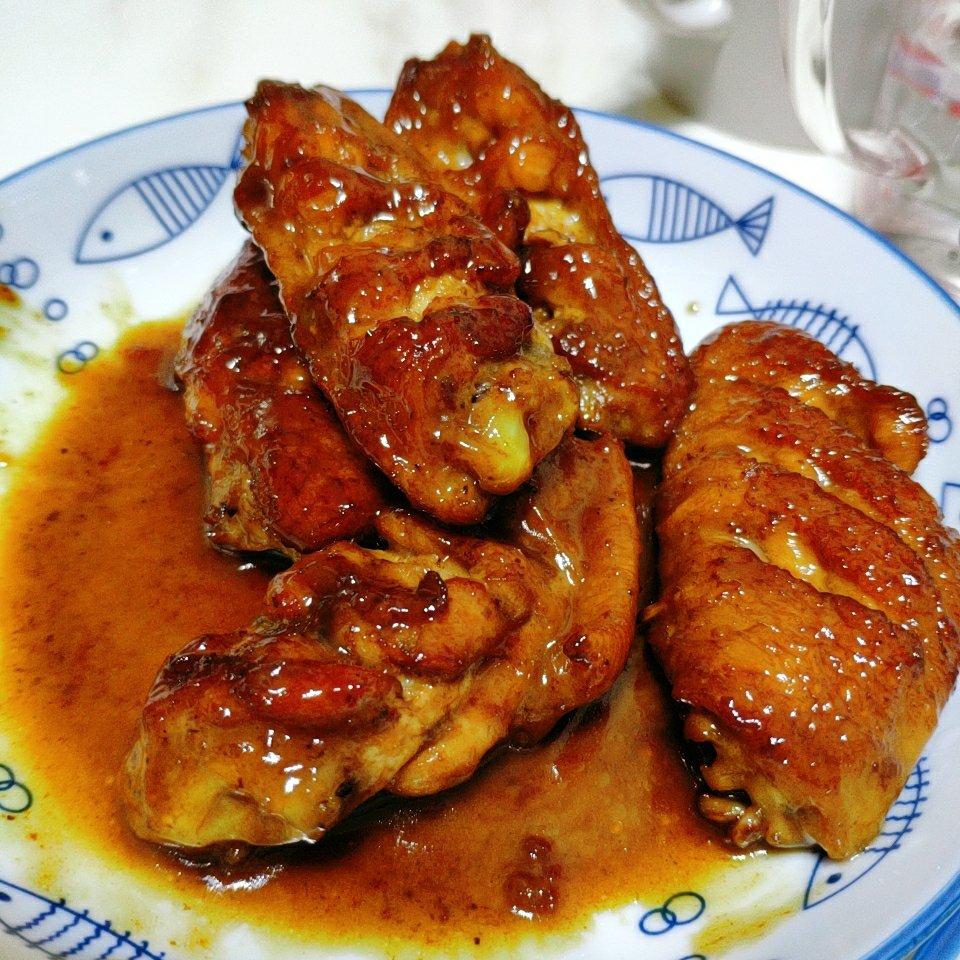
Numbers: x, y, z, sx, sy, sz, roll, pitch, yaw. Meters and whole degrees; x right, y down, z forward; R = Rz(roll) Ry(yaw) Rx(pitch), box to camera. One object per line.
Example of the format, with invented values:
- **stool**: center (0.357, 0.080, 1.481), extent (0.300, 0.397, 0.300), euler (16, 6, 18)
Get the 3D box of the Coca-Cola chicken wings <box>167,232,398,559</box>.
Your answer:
- **Coca-Cola chicken wings**: center (-0.448, -0.164, 2.638), extent (0.487, 0.200, 0.586), euler (-9, 68, -16)
